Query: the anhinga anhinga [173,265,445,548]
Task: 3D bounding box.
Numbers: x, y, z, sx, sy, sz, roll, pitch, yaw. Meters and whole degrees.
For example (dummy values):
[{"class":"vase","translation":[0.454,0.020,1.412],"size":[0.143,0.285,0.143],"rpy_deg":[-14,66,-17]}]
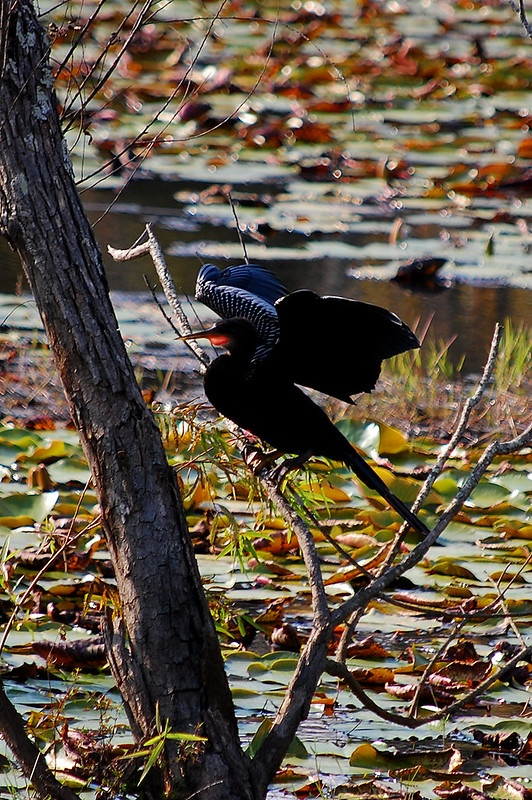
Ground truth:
[{"class":"anhinga anhinga","translation":[0.058,0.002,3.066],"size":[0.752,0.311,0.687],"rpy_deg":[9,16,-25]}]
